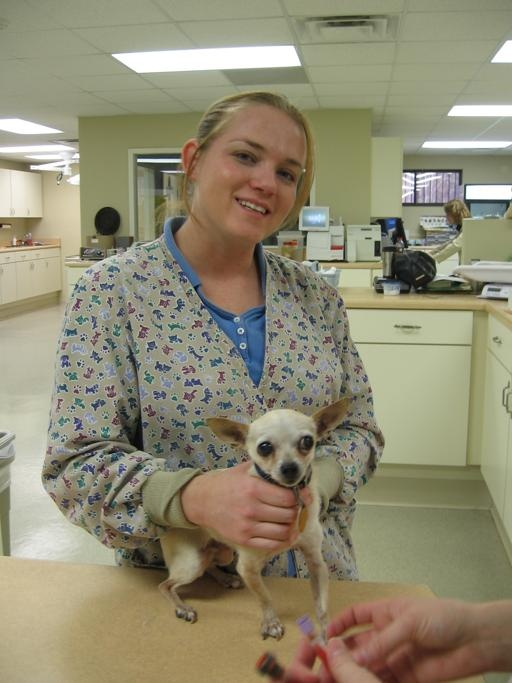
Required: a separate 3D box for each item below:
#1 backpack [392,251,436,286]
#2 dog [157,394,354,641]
[{"bbox_3d":[0.932,-0.442,3.365,0.208,0.104,0.243,16,11,-9],"label":"backpack"},{"bbox_3d":[-0.015,0.245,0.778,0.173,0.278,0.346,1,-12,-33],"label":"dog"}]
